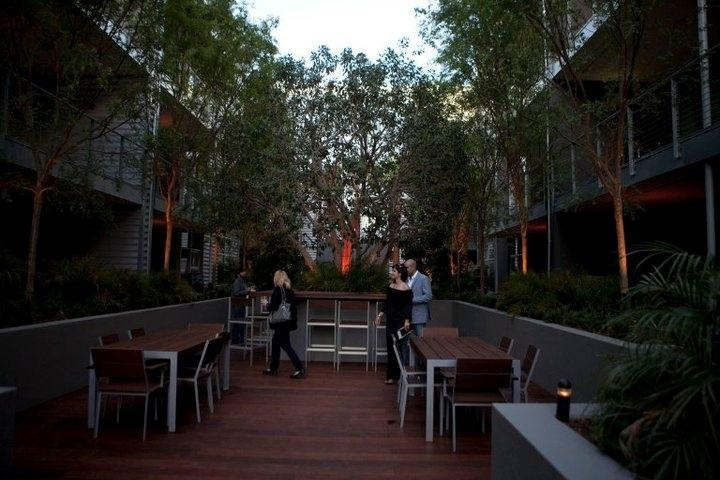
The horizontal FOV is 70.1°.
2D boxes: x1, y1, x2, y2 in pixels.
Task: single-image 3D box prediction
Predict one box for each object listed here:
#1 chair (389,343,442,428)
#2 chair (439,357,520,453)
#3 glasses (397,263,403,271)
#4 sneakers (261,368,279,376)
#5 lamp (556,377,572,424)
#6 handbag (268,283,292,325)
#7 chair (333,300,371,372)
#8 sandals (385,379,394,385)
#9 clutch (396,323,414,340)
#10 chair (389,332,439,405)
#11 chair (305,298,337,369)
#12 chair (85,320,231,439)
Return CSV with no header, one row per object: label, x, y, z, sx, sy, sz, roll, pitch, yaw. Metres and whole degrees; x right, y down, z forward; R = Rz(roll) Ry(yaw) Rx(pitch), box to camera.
chair,0.800,2.089,7.475,0.661,1.056,1.034,1,-4,-1
chair,1.452,2.102,6.614,0.985,1.589,1.025,1,-4,-1
glasses,0.693,0.469,8.698,0.090,0.128,0.121,-3,-1,-16
sneakers,-1.667,2.466,9.602,0.307,0.155,0.129,-2,1,32
lamp,1.823,1.437,4.607,0.109,0.393,0.182,3,5,20
handbag,-1.326,1.112,8.988,0.427,0.978,0.636,4,-7,-13
chair,-0.129,1.947,10.753,0.734,1.464,0.958,1,5,-2
sandals,0.530,2.490,9.009,0.129,0.062,0.068,-7,-2,25
clutch,0.673,1.504,8.243,0.376,0.291,0.091,7,15,-43
chair,0.747,1.948,7.897,0.833,1.412,0.698,0,1,0
chair,-0.818,1.919,10.915,0.677,1.455,0.983,1,5,-7
chair,-2.739,1.840,7.249,1.353,1.173,1.994,2,5,4
